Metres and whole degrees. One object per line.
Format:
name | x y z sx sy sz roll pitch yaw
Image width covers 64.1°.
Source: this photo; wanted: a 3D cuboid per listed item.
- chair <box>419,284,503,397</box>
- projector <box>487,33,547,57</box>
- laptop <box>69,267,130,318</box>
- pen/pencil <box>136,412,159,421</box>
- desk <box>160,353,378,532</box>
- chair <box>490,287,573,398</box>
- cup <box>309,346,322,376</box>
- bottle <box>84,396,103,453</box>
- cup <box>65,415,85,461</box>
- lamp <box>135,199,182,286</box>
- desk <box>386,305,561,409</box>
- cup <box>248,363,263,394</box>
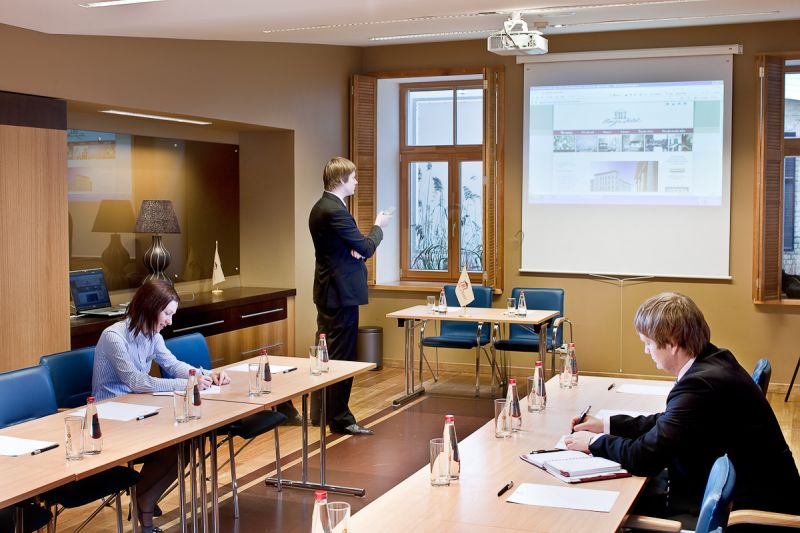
chair | 0.663 0.833 7.372 0.969 1.113 0.886 0 3 -2
projector | 1.148 -2.082 6.122 0.387 0.143 0.394 2 1 19
laptop | -2.653 0.242 5.540 0.454 0.373 0.537 3 1 19
pen/pencil | -1.388 0.824 3.515 0.029 0.018 0.126 -5 1 16
desk | -0.783 0.785 4.671 0.962 1.224 1.793 -1 -1 32
chair | 1.472 0.788 7.206 0.787 1.033 0.723 1 2 36
cup | -0.587 0.653 4.428 0.072 0.191 0.114 -4 6 -34
bottle | -1.485 0.763 3.082 0.078 0.238 0.205 -3 6 -25
cup | -1.533 0.796 2.981 0.139 0.200 0.071 2 6 26
lamp | -2.328 -0.266 6.204 0.356 0.762 0.593 0 5 12
desk | 0.783 0.985 7.048 1.612 0.983 0.933 2 8 11
cup | -0.890 0.700 3.946 0.079 0.170 0.150 -2 5 -13
